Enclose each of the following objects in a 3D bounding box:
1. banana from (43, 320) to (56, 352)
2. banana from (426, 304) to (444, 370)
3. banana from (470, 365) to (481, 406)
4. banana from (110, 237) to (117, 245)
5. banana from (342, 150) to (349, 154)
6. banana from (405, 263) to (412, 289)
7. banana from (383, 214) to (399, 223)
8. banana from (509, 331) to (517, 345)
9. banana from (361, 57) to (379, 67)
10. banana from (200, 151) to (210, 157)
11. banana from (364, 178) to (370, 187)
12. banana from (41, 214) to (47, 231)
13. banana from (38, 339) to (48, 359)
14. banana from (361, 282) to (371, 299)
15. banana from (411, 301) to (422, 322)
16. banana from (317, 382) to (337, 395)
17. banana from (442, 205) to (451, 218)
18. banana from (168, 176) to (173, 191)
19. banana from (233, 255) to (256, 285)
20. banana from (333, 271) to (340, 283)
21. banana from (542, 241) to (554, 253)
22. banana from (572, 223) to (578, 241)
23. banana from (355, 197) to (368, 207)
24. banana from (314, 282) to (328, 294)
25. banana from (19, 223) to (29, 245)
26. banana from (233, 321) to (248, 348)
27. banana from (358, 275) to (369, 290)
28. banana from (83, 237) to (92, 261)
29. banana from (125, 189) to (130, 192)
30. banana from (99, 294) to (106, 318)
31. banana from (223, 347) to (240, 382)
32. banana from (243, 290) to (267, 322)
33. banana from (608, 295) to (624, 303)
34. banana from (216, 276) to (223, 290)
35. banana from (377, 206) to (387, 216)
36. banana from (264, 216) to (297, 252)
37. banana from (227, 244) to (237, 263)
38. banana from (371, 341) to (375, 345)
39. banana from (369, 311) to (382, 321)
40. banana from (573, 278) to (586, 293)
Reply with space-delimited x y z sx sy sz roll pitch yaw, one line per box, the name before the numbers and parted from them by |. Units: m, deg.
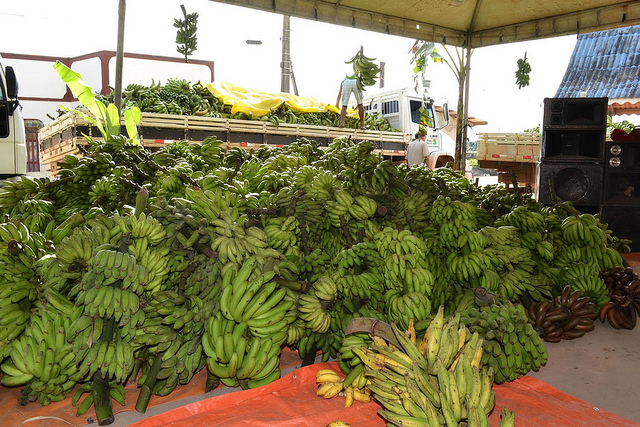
banana | -1.649 0.742 2.882 0.049 0.206 0.069 -17 -9 39
banana | 0.659 0.689 2.670 0.067 0.402 0.103 10 -19 15
banana | 0.828 0.908 2.507 0.043 0.192 0.066 14 -23 -19
banana | -1.237 0.165 2.830 0.032 0.041 0.012 47 -6 16
banana | 0.227 -0.512 3.949 0.031 0.010 0.021 -14 26 14
banana | 0.604 0.417 3.137 0.037 0.149 0.029 12 -21 -41
banana | 0.548 0.042 3.544 0.065 0.020 0.066 -24 48 -18
banana | 1.264 0.796 3.047 0.037 0.072 0.023 -1 -17 16
banana | 0.591 -1.716 5.369 0.118 0.100 0.215 -4 15 -27
banana | -0.976 -0.510 4.028 0.083 0.033 0.030 7 14 18
banana | 0.376 -0.238 3.597 0.042 0.057 0.034 -9 17 -42
banana | -1.984 0.056 3.387 0.029 0.103 0.020 -9 16 -41
banana | -1.669 0.812 2.846 0.028 0.112 0.037 -5 -25 -6
banana | 0.326 0.518 3.190 0.033 0.105 0.028 -20 2 -17
banana | 0.640 0.634 3.053 0.036 0.141 0.045 -24 -5 -7
banana | 0.062 1.160 3.137 0.085 0.023 0.031 -32 -17 -19
banana | 0.927 -0.021 3.429 0.032 0.027 0.129 8 41 18
banana | -1.093 -0.215 3.447 0.036 0.080 0.022 8 14 23
banana | -0.458 0.350 2.887 0.032 0.174 0.045 31 -18 11
banana | 0.119 0.427 3.210 0.034 0.060 0.020 4 -27 47
banana | 1.957 0.287 4.016 0.119 0.032 0.022 33 43 0
banana | 2.297 0.163 4.201 0.024 0.150 0.034 -6 -13 35
banana | 0.309 -0.091 3.389 0.100 0.027 0.034 41 -21 17
banana | 0.013 0.489 3.088 0.110 0.030 0.037 45 3 21
banana | -1.923 0.136 3.070 0.039 0.174 0.057 -1 -6 -24
banana | -0.472 0.706 2.851 0.040 0.178 0.060 21 -19 3
banana | 0.311 0.457 3.170 0.035 0.108 0.028 -25 -9 -47
banana | -1.388 0.211 2.820 0.060 0.138 0.036 4 -4 9
banana | -1.436 -0.171 3.523 0.031 0.017 0.011 -3 14 -24
banana | -1.217 0.534 2.646 0.024 0.095 0.030 1 -6 -7
banana | -0.517 0.914 2.856 0.066 0.298 0.120 6 12 -17
banana | -0.394 0.561 2.857 0.039 0.190 0.062 49 -16 -28
banana | 2.834 0.803 4.464 0.119 0.056 0.064 9 15 26
banana | -0.617 0.422 2.932 0.025 0.109 0.040 -12 -6 3
banana | 0.479 -0.014 3.431 0.088 0.070 0.049 -6 15 -31
banana | -0.269 0.144 3.368 0.228 0.188 0.107 -31 0 -45
banana | -0.538 0.251 2.929 0.041 0.121 0.026 -29 7 -33
banana | 0.344 0.805 2.947 0.008 0.030 0.030 11 -20 -37
banana | 0.384 0.694 3.197 0.069 0.036 0.138 3 13 1
banana | 2.320 0.632 4.176 0.022 0.127 0.045 -38 -7 9
